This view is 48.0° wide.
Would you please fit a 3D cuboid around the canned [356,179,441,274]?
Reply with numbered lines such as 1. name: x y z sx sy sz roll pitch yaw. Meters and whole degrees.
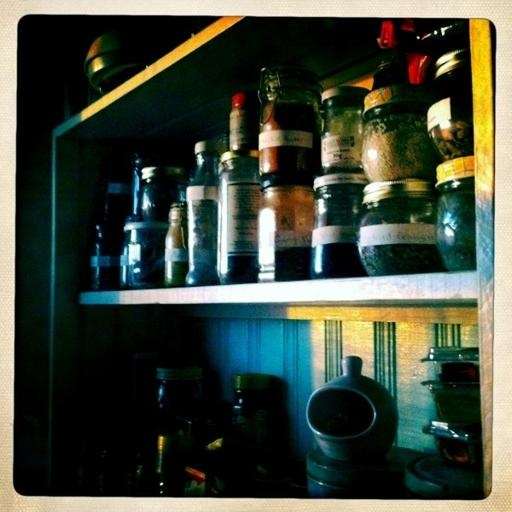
1. canned: 0.177 -0.031 0.708 0.108 0.107 0.110 -3 -4 38

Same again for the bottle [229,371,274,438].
1. bottle: -0.007 0.304 1.135 0.080 0.139 0.132 0 -10 0

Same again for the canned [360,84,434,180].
1. canned: 0.191 -0.150 0.734 0.105 0.112 0.106 -3 4 37

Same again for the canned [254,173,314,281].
1. canned: 0.043 -0.031 0.793 0.076 0.134 0.040 -1 -6 4

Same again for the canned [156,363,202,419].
1. canned: -0.159 0.284 1.202 0.099 0.097 0.099 1 -8 -14

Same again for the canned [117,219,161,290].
1. canned: -0.228 -0.002 1.239 0.118 0.131 0.122 1 0 -21

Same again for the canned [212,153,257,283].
1. canned: -0.025 -0.059 0.891 0.108 0.187 0.107 -1 4 -13

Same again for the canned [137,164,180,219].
1. canned: -0.201 -0.130 1.199 0.102 0.111 0.102 1 2 -16

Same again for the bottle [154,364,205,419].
1. bottle: -0.160 0.282 1.203 0.101 0.097 0.100 2 -1 -12

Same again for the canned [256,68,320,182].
1. canned: 0.050 -0.182 0.828 0.092 0.147 0.092 4 5 29

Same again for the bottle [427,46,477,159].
1. bottle: 0.224 -0.176 0.663 0.052 0.129 0.040 -4 -7 33

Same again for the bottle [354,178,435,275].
1. bottle: 0.180 -0.031 0.709 0.112 0.110 0.112 -2 -1 7

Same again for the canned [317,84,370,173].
1. canned: 0.121 -0.173 0.815 0.071 0.110 0.072 -3 8 -19

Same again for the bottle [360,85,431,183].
1. bottle: 0.193 -0.148 0.736 0.113 0.117 0.113 -5 3 -15
